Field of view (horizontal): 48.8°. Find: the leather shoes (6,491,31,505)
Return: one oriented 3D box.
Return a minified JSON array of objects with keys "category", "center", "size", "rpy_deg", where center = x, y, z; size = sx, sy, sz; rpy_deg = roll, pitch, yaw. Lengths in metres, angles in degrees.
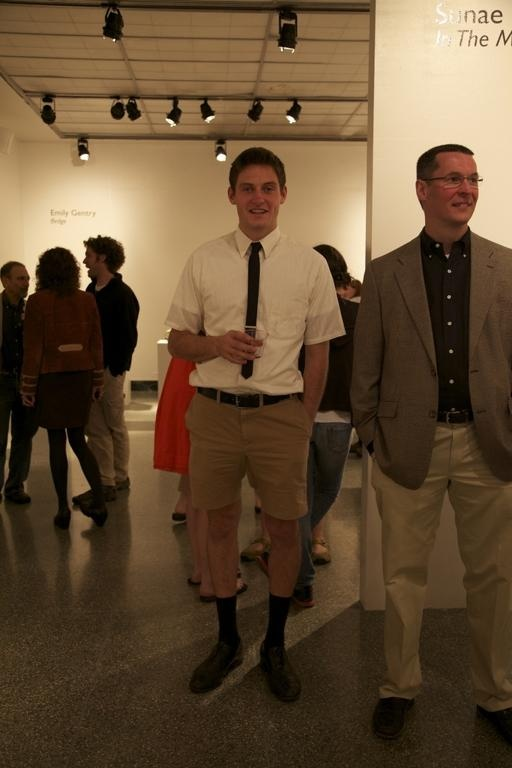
[{"category":"leather shoes","center":[-1.702,0.799,4.031],"size":[0.203,0.093,0.077],"rpy_deg":[-3,-4,36]}]

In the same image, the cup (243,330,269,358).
[{"category":"cup","center":[0.010,-0.107,1.472],"size":[0.067,0.069,0.065],"rpy_deg":[0,1,0]}]

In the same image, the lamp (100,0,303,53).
[{"category":"lamp","center":[-0.450,-3.017,4.723],"size":[1.566,0.460,0.356],"rpy_deg":[-1,24,-6]}]

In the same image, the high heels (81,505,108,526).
[{"category":"high heels","center":[-0.999,0.780,3.518],"size":[0.179,0.115,0.070],"rpy_deg":[28,28,30]}]

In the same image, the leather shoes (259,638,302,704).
[{"category":"leather shoes","center":[0.079,0.900,1.753],"size":[0.061,0.065,0.172],"rpy_deg":[-1,1,-11]}]

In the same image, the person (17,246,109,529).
[{"category":"person","center":[-1.172,0.026,3.449],"size":[0.495,1.722,0.317],"rpy_deg":[-1,2,-24]}]

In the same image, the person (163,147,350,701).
[{"category":"person","center":[-0.010,0.116,1.723],"size":[0.540,1.710,0.486],"rpy_deg":[-1,-1,0]}]

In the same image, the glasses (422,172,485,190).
[{"category":"glasses","center":[0.518,-0.540,1.507],"size":[0.136,0.047,0.065],"rpy_deg":[0,2,17]}]

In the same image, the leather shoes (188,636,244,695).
[{"category":"leather shoes","center":[-0.130,0.906,1.860],"size":[0.074,0.085,0.209],"rpy_deg":[14,16,26]}]

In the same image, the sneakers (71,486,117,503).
[{"category":"sneakers","center":[-1.130,0.773,4.055],"size":[0.363,0.164,0.123],"rpy_deg":[2,-8,-28]}]
